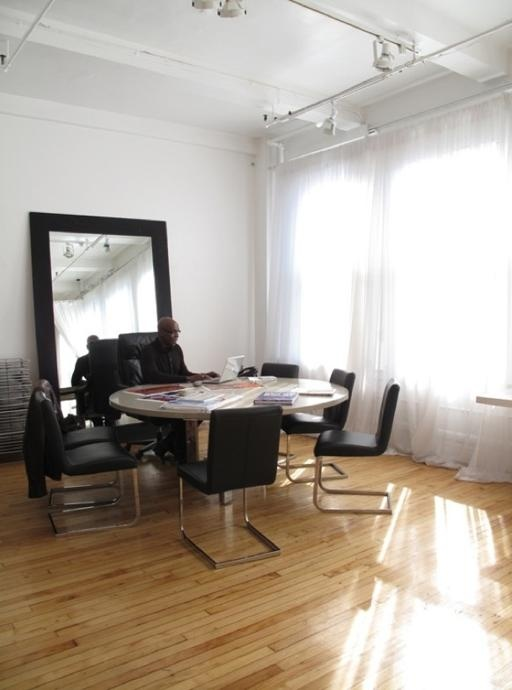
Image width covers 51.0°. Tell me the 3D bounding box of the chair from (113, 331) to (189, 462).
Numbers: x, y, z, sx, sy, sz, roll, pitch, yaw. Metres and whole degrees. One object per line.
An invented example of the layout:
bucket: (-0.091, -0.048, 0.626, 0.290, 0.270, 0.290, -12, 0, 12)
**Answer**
chair: (-0.776, 0.384, 4.263, 0.632, 0.938, 0.660, 0, 17, 1)

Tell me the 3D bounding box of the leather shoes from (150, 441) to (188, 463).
leather shoes: (-0.672, 0.875, 4.372, 0.223, 0.088, 0.223, -1, 18, 31)

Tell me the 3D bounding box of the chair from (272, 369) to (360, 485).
chair: (0.460, 0.602, 4.204, 0.587, 0.841, 0.541, 1, 4, 8)

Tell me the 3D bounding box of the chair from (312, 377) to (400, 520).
chair: (0.638, 0.637, 3.559, 0.523, 0.838, 0.644, 0, 3, 7)

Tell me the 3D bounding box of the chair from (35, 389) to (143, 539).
chair: (-1.010, 0.617, 3.164, 0.574, 0.768, 0.586, -1, 9, -25)

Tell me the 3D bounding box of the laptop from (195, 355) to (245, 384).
laptop: (-0.289, 0.202, 4.101, 0.215, 0.158, 0.275, 0, 3, 23)

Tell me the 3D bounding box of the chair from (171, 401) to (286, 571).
chair: (-0.154, 0.688, 2.857, 0.515, 0.800, 0.653, -1, 3, -12)

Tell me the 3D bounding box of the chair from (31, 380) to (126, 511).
chair: (-1.145, 0.684, 3.511, 0.553, 0.721, 0.753, -3, 6, -19)

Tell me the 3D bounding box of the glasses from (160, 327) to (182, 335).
glasses: (-0.691, -0.116, 4.276, 0.106, 0.032, 0.104, 3, 5, 37)
